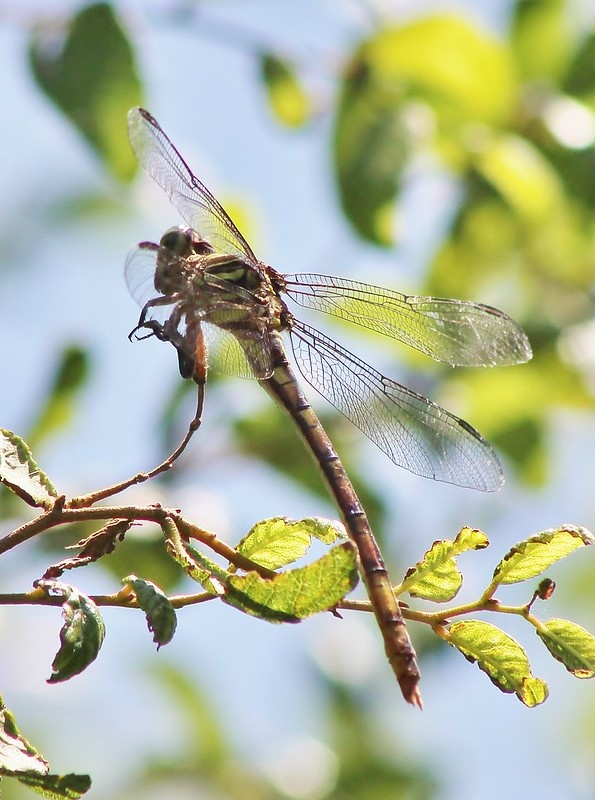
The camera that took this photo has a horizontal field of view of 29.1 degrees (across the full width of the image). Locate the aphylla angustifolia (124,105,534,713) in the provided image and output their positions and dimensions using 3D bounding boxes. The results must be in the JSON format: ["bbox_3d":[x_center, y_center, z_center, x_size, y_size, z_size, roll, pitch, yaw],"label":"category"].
[{"bbox_3d":[-0.023,0.026,1.629,0.633,0.498,0.667,16,70,11],"label":"aphylla angustifolia"}]
